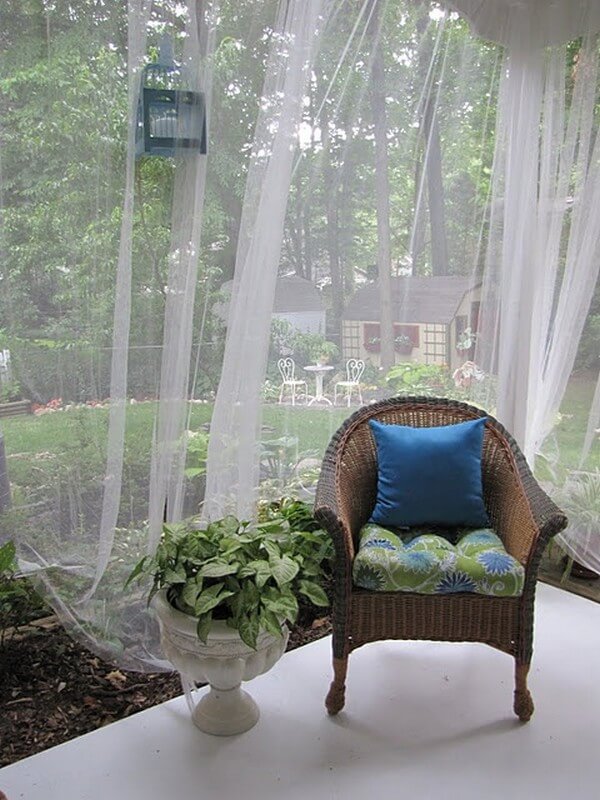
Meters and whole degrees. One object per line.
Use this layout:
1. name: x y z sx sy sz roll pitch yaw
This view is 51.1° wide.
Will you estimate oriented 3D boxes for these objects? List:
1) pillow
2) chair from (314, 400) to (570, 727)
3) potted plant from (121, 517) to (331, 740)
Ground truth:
1. pillow: 0.381 0.221 1.902 0.346 0.339 0.137 -1 4 10
2. chair: 0.356 0.423 1.837 0.604 0.782 0.628 0 9 2
3. potted plant: -0.161 0.592 1.670 0.492 0.539 0.527 1 9 11
